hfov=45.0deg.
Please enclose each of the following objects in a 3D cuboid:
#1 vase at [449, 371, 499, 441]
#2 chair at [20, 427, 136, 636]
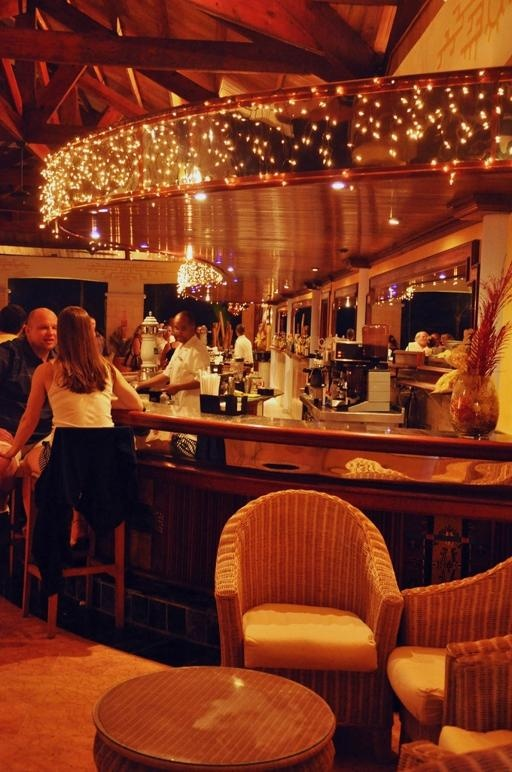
[{"bbox_3d":[1.040,0.082,2.929,0.208,0.314,0.224,2,9,22],"label":"vase"},{"bbox_3d":[-0.942,0.773,3.324,0.528,1.146,0.429,0,4,-26],"label":"chair"}]
